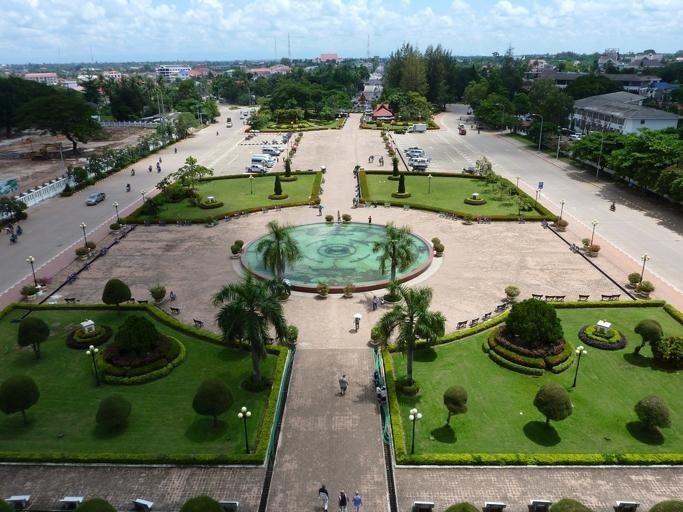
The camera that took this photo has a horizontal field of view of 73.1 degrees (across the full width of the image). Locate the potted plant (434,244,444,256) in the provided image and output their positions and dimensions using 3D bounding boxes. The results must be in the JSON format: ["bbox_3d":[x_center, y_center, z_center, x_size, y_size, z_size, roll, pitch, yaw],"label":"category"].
[{"bbox_3d":[11.135,-0.760,53.824,1.578,1.252,1.306,-2,23,-2],"label":"potted plant"}]

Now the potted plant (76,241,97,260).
[{"bbox_3d":[-29.998,-0.715,54.116,1.431,1.349,2.344,4,30,6],"label":"potted plant"}]

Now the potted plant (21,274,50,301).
[{"bbox_3d":[-30.877,3.242,46.499,2.006,1.300,2.762,1,29,1],"label":"potted plant"}]

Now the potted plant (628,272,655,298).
[{"bbox_3d":[29.861,3.077,46.035,1.668,0.956,2.839,-1,11,8],"label":"potted plant"}]

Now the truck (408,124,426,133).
[{"bbox_3d":[22.409,-38.228,136.383,4.950,2.278,3.058,1,13,3],"label":"truck"}]

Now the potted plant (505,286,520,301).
[{"bbox_3d":[16.573,3.578,44.641,1.739,1.375,1.552,7,28,16],"label":"potted plant"}]

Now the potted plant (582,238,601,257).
[{"bbox_3d":[29.092,-0.938,53.535,1.756,0.981,2.555,-1,9,7],"label":"potted plant"}]
